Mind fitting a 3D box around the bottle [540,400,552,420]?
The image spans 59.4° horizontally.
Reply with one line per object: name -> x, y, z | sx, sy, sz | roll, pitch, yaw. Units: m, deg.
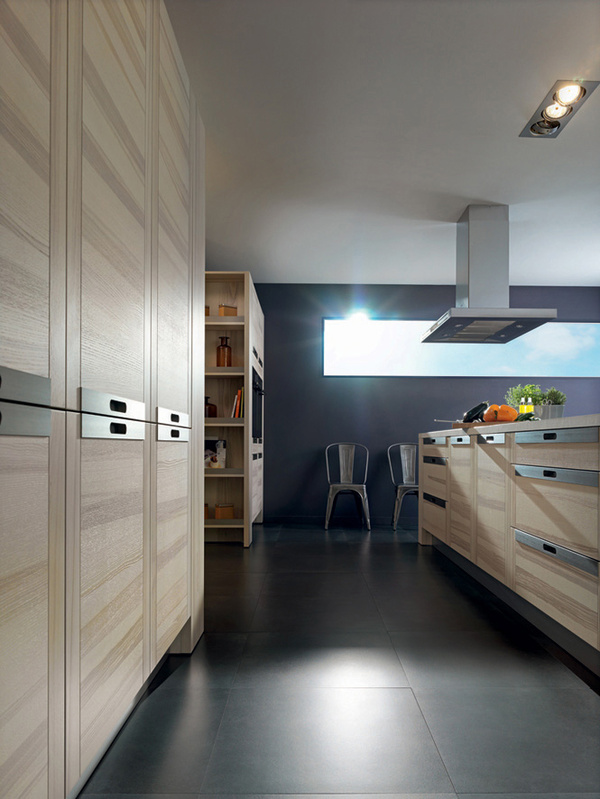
bottle -> 1.256, 0.046, 2.661 | 0.075, 0.105, 0.198 | -2, -7, 25

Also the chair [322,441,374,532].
chair -> 0.492, 0.874, 5.413 | 0.481, 0.856, 0.629 | 0, -6, 4

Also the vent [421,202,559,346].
vent -> 1.464, -0.962, 4.370 | 0.623, 0.921, 1.122 | 0, -3, 2

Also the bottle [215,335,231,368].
bottle -> -0.635, -0.387, 4.381 | 0.133, 0.289, 0.223 | 1, -6, -10

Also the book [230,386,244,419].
book -> -0.520, 0.034, 4.385 | 0.105, 0.278, 0.222 | 1, -6, -9

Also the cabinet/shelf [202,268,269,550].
cabinet/shelf -> -0.688, 0.084, 4.931 | 0.470, 1.782, 1.661 | 1, 12, -1
